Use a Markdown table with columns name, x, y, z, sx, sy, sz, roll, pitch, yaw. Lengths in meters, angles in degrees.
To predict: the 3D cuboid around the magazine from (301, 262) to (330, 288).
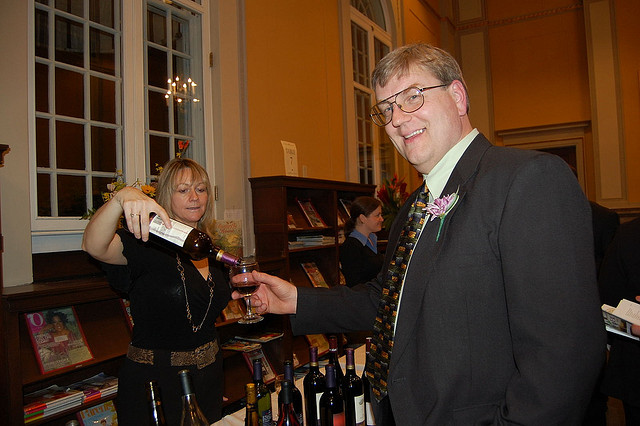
| name | x | y | z | sx | sy | sz | roll | pitch | yaw |
| --- | --- | --- | --- | --- | --- | --- | --- | --- | --- |
| magazine | -0.075 | 0.738 | 5.522 | 0.241 | 0.291 | 0.349 | -4 | 3 | 34 |

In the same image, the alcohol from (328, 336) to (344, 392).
| name | x | y | z | sx | sy | sz | roll | pitch | yaw |
| --- | --- | --- | --- | --- | --- | --- | --- | --- | --- |
| alcohol | 0.067 | 0.876 | 2.536 | 0.102 | 0.392 | 0.095 | -2 | -11 | 7 |

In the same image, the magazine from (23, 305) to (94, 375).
| name | x | y | z | sx | sy | sz | roll | pitch | yaw |
| --- | --- | --- | --- | --- | --- | --- | --- | --- | --- |
| magazine | -1.816 | 0.870 | 3.280 | 0.212 | 0.516 | 0.354 | -4 | 2 | 42 |

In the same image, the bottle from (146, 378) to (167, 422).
| name | x | y | z | sx | sy | sz | roll | pitch | yaw |
| --- | --- | --- | --- | --- | --- | --- | --- | --- | --- |
| bottle | -0.746 | 0.855 | 2.127 | 0.062 | 0.210 | 0.167 | -6 | 2 | -22 |

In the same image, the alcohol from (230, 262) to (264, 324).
| name | x | y | z | sx | sy | sz | roll | pitch | yaw |
| --- | --- | --- | --- | --- | --- | --- | --- | --- | --- |
| alcohol | -0.378 | 0.403 | 2.425 | 0.166 | 0.315 | 0.165 | -8 | 0 | -13 |

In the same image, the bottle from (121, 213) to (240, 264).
| name | x | y | z | sx | sy | sz | roll | pitch | yaw |
| --- | --- | --- | --- | --- | --- | --- | --- | --- | --- |
| bottle | -0.641 | 0.133 | 2.313 | 0.457 | 0.270 | 0.239 | -7 | 3 | -27 |

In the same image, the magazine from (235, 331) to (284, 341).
| name | x | y | z | sx | sy | sz | roll | pitch | yaw |
| --- | --- | --- | --- | --- | --- | --- | --- | --- | --- |
| magazine | -0.592 | 1.205 | 4.579 | 0.401 | 0.085 | 0.246 | -6 | 3 | 14 |

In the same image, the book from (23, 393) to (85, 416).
| name | x | y | z | sx | sy | sz | roll | pitch | yaw |
| --- | --- | --- | --- | --- | --- | --- | --- | --- | --- |
| book | -1.757 | 1.279 | 3.123 | 0.358 | 0.042 | 0.017 | -9 | 3 | -41 |

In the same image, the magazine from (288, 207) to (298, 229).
| name | x | y | z | sx | sy | sz | roll | pitch | yaw |
| --- | --- | --- | --- | --- | --- | --- | --- | --- | --- |
| magazine | -0.329 | 0.052 | 5.145 | 0.103 | 0.202 | 0.191 | -10 | 11 | 14 |

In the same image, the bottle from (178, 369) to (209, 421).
| name | x | y | z | sx | sy | sz | roll | pitch | yaw |
| --- | --- | --- | --- | --- | --- | --- | --- | --- | --- |
| bottle | -0.580 | 0.821 | 2.102 | 0.103 | 0.259 | 0.229 | -6 | 2 | -17 |

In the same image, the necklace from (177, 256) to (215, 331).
| name | x | y | z | sx | sy | sz | roll | pitch | yaw |
| --- | --- | --- | --- | --- | --- | --- | --- | --- | --- |
| necklace | -0.815 | 0.531 | 3.061 | 0.195 | 0.483 | 0.184 | 4 | 4 | -16 |

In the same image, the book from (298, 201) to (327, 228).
| name | x | y | z | sx | sy | sz | roll | pitch | yaw |
| --- | --- | --- | --- | --- | --- | --- | --- | --- | --- |
| book | -0.100 | 0.030 | 5.564 | 0.041 | 0.407 | 0.289 | -41 | -26 | 18 |

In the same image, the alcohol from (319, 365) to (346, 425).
| name | x | y | z | sx | sy | sz | roll | pitch | yaw |
| --- | --- | --- | --- | --- | --- | --- | --- | --- | --- |
| alcohol | 0.054 | 0.891 | 2.263 | 0.132 | 0.323 | 0.115 | 6 | 7 | 26 |
